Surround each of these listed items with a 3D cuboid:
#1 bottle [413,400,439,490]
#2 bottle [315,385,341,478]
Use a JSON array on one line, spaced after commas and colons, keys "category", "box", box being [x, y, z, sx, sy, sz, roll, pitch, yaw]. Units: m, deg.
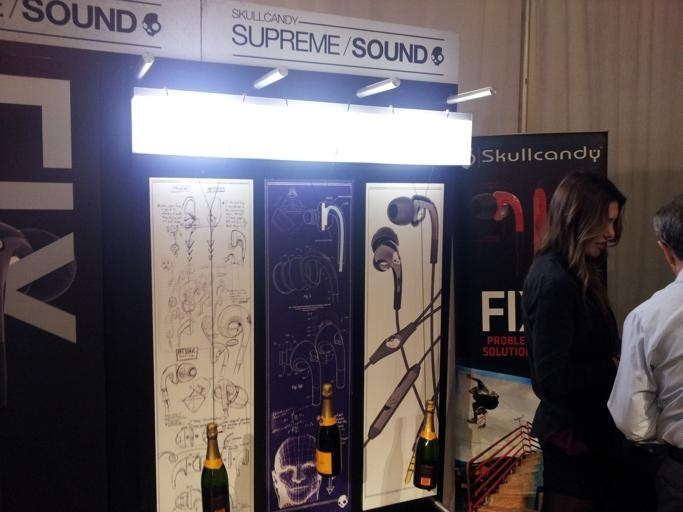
[{"category": "bottle", "box": [0.363, 0.821, 2.632, 0.117, 0.486, 0.267, -2, 4, 7]}, {"category": "bottle", "box": [-0.048, 0.716, 2.491, 0.112, 0.444, 0.177, -3, 4, -8]}]
